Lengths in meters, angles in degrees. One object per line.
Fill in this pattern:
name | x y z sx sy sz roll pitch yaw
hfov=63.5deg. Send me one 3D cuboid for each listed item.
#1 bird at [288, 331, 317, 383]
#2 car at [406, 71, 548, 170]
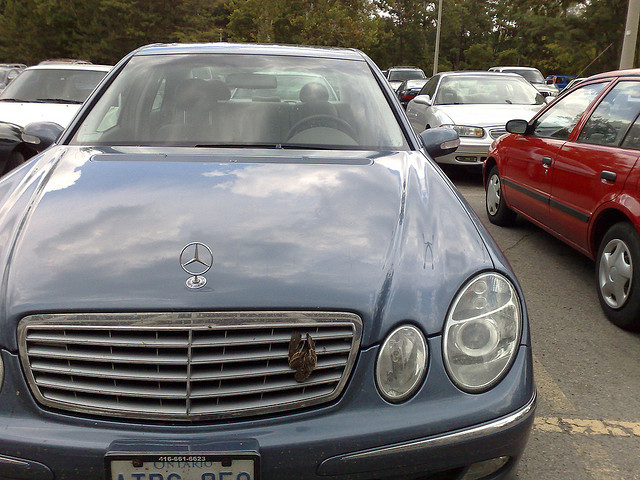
bird | -0.061 0.378 1.697 0.084 0.126 0.084 -1 26 1
car | 2.584 -2.271 9.732 1.739 1.254 3.857 0 13 -1
